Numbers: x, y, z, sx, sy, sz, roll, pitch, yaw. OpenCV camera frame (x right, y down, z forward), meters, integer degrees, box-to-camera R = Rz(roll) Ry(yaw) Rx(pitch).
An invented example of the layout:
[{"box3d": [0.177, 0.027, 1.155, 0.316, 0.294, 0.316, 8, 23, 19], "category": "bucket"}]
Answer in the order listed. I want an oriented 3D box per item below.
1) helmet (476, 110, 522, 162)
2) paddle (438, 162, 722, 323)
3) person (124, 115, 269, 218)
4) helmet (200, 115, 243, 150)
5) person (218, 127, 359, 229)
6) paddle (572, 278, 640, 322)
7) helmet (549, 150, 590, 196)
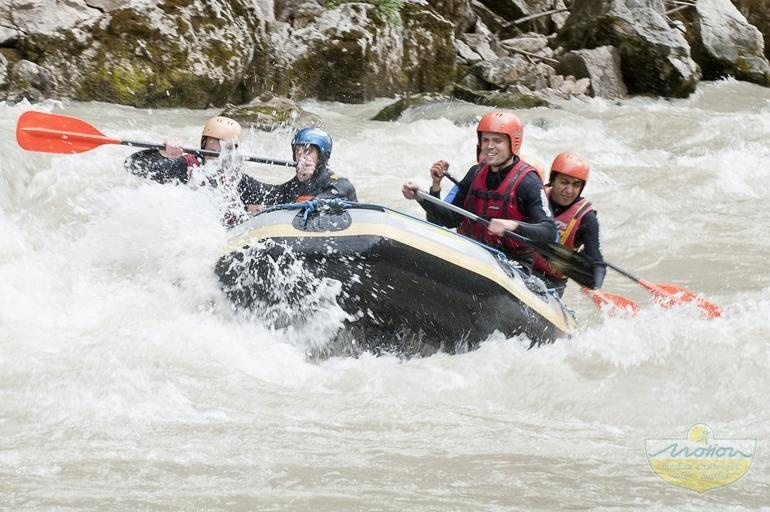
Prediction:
[{"box3d": [1.255, -1.352, 11.227, 0.441, 0.431, 0.571, 3, 5, 32], "category": "helmet"}, {"box3d": [2.231, -0.082, 11.851, 3.662, 0.545, 0.260, 32, 21, 19], "category": "paddle"}, {"box3d": [-2.161, -1.071, 11.832, 1.372, 0.435, 1.280, -2, 32, -37], "category": "person"}, {"box3d": [-1.892, -1.420, 11.960, 0.321, 0.345, 0.391, 19, -8, -5], "category": "helmet"}, {"box3d": [-0.896, -0.968, 11.761, 1.081, 0.639, 1.390, 5, 18, 20], "category": "person"}, {"box3d": [2.474, 0.500, 11.403, 0.598, 0.295, 0.118, 31, 11, -6], "category": "paddle"}, {"box3d": [2.084, -0.936, 11.681, 0.375, 0.413, 0.466, 24, 2, 2], "category": "helmet"}]
